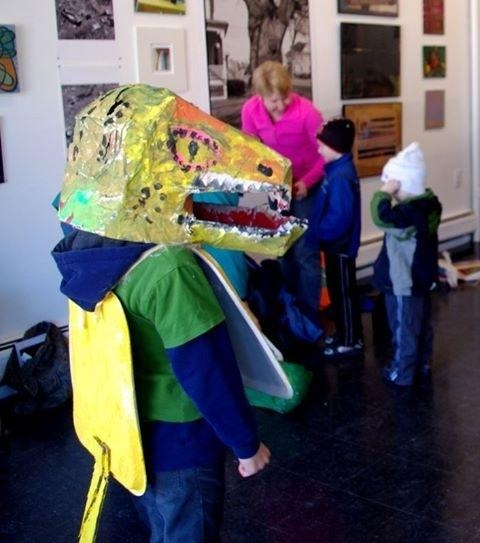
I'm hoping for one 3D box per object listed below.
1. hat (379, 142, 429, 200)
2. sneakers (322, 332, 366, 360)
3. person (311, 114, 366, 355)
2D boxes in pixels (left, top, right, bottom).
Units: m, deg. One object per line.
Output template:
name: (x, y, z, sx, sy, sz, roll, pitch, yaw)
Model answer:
hat: (0.806, -0.483, 2.353, 0.197, 0.245, 0.243, -17, 28, -34)
sneakers: (0.584, 0.427, 2.852, 0.186, 0.072, 0.112, -11, 20, -7)
person: (0.545, -0.191, 2.811, 0.287, 1.290, 0.342, -3, 12, 1)
